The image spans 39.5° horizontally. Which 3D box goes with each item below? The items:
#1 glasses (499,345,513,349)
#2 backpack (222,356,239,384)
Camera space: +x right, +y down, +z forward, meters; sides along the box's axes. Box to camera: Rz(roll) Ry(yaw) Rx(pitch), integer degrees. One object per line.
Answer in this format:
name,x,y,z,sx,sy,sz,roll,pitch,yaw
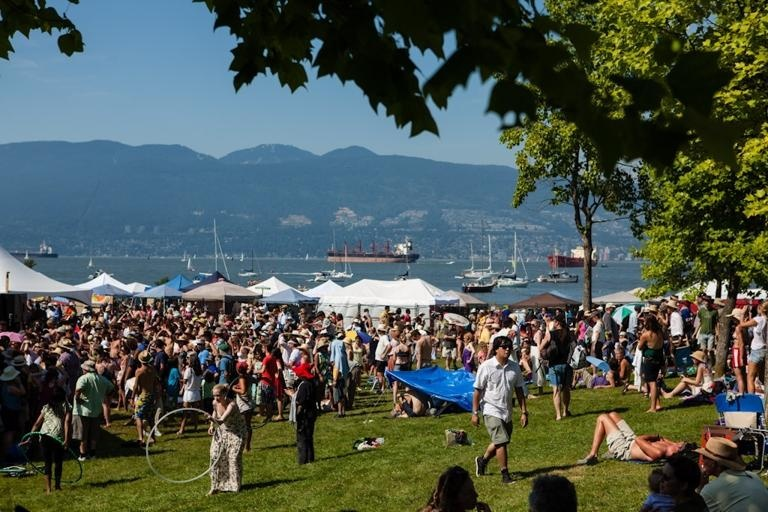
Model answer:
glasses,2.675,1.980,23.086,0.170,0.102,0.393,-3,-5,28
backpack,-4.075,3.047,28.220,0.382,0.704,0.657,0,-3,39
